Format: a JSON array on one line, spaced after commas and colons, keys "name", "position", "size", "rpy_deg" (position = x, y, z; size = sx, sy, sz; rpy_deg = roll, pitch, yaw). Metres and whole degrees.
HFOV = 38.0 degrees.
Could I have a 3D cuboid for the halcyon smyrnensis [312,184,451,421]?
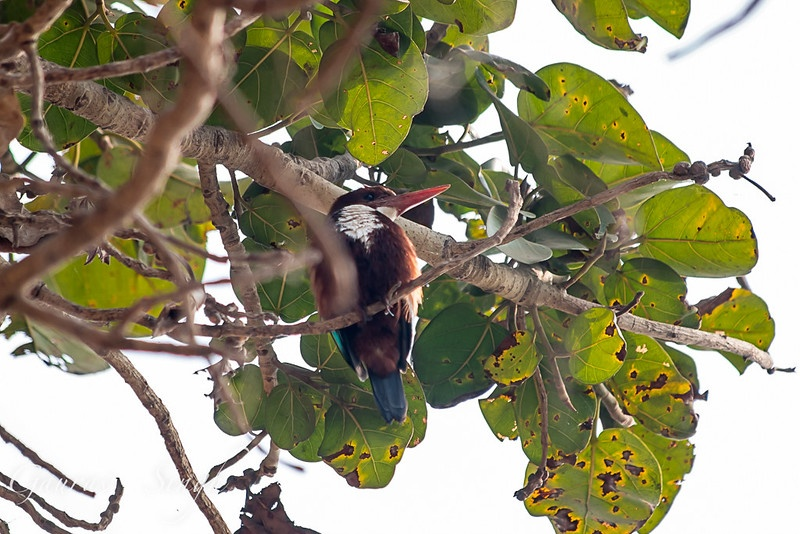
[{"name": "halcyon smyrnensis", "position": [-0.107, 0.079, 4.653], "size": [0.386, 0.470, 1.140], "rpy_deg": [0, -96, -35]}]
